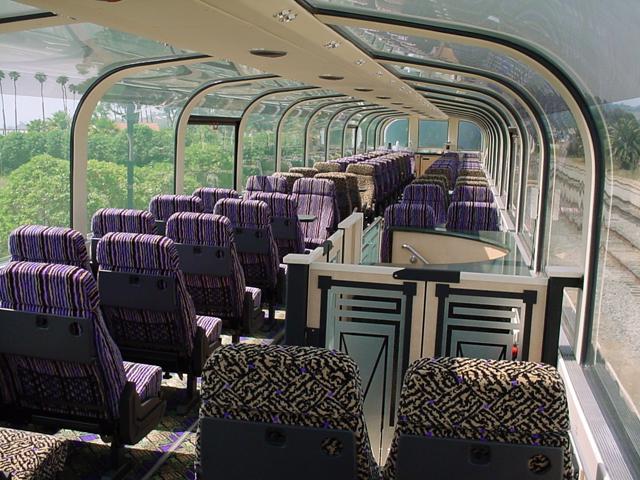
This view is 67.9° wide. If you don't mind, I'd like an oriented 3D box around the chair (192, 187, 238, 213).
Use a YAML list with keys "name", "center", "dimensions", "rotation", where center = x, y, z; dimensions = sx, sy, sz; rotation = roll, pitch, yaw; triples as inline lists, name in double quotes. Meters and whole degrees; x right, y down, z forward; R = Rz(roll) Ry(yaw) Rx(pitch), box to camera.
- name: "chair"
  center: [-1.413, -0.591, 6.360]
  dimensions: [0.514, 0.356, 0.380]
  rotation: [2, 14, 2]

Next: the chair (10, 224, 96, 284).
- name: "chair"
  center: [-1.713, 0.093, 3.048]
  dimensions: [0.485, 0.408, 0.201]
  rotation: [5, 23, 0]

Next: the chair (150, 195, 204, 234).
- name: "chair"
  center: [-1.492, -0.268, 4.967]
  dimensions: [0.394, 0.337, 0.202]
  rotation: [3, 17, 7]
